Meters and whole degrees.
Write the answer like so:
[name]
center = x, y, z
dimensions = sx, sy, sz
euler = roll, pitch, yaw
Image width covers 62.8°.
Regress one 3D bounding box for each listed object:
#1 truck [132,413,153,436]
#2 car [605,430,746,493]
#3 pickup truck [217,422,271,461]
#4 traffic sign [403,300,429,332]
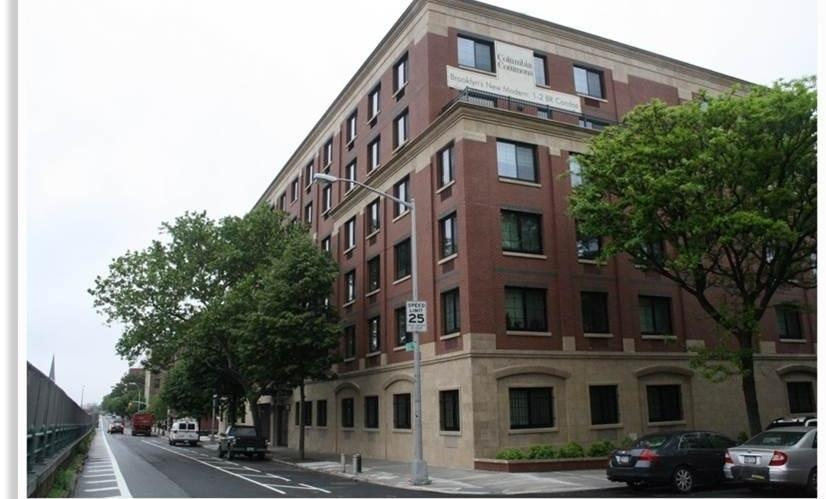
[truck]
center = -38.502, 25.112, 96.428
dimensions = 2.852, 2.551, 4.985
euler = 5, -15, -23
[car]
center = 11.131, 9.283, 29.402
dimensions = 4.711, 2.556, 1.286
euler = 4, -21, -12
[pickup truck]
center = -12.213, 13.862, 48.215
dimensions = 2.164, 1.595, 4.154
euler = 5, -13, -19
[traffic sign]
center = 0.114, 3.338, 33.784
dimensions = 0.992, 1.605, 0.981
euler = 2, -21, -7
